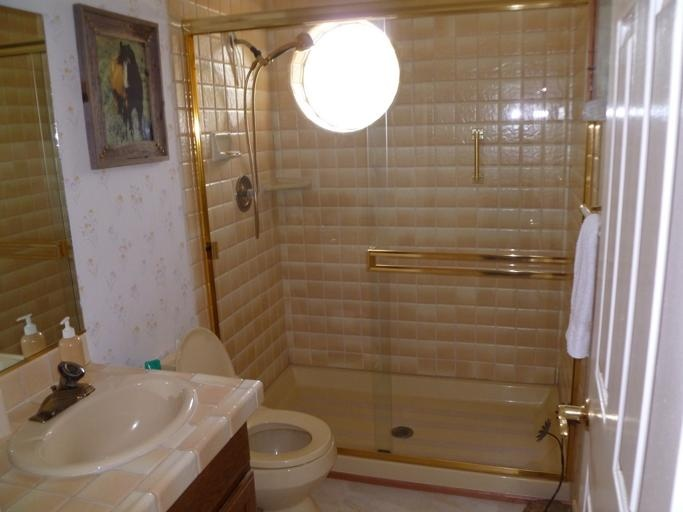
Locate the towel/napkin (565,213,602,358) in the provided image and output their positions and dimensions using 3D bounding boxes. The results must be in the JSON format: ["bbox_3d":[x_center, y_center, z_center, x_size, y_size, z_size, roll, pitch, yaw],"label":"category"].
[{"bbox_3d":[0.619,0.091,1.317,0.058,0.389,0.084,-5,11,-20],"label":"towel/napkin"}]

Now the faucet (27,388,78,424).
[{"bbox_3d":[-0.774,0.400,1.424,0.063,0.027,0.093,2,12,9],"label":"faucet"}]
